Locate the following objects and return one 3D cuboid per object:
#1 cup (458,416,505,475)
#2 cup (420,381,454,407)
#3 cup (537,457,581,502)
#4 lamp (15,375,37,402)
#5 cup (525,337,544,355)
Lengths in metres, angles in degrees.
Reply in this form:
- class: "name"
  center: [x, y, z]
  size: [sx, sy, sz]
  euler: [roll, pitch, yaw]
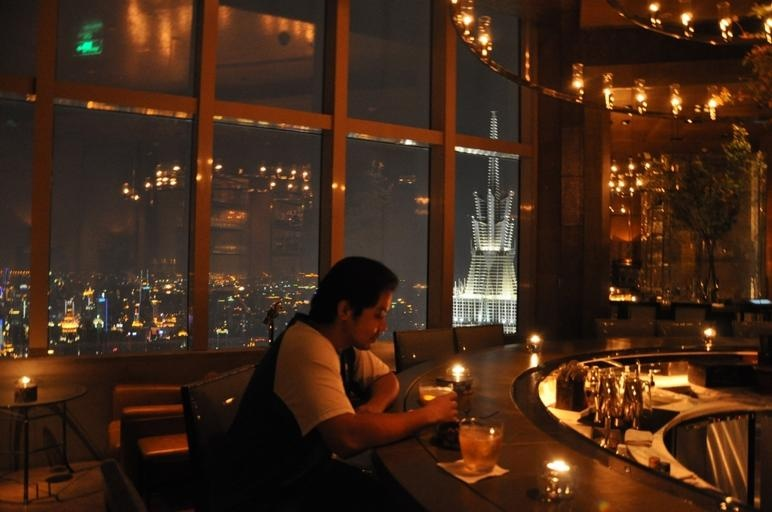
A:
- class: "cup"
  center: [0.556, 1.139, 4.455]
  size: [0.351, 0.312, 0.358]
  euler: [0, -8, 0]
- class: "cup"
  center: [0.334, 0.904, 4.911]
  size: [0.167, 0.117, 0.127]
  euler: [0, -4, 1]
- class: "cup"
  center: [0.988, 1.306, 4.271]
  size: [0.222, 0.201, 0.216]
  euler: [1, 3, 0]
- class: "lamp"
  center: [-3.001, 1.128, 6.231]
  size: [0.193, 0.209, 0.194]
  euler: [3, -11, -27]
- class: "cup"
  center: [1.280, 0.767, 6.332]
  size: [0.153, 0.114, 0.139]
  euler: [2, -3, -25]
